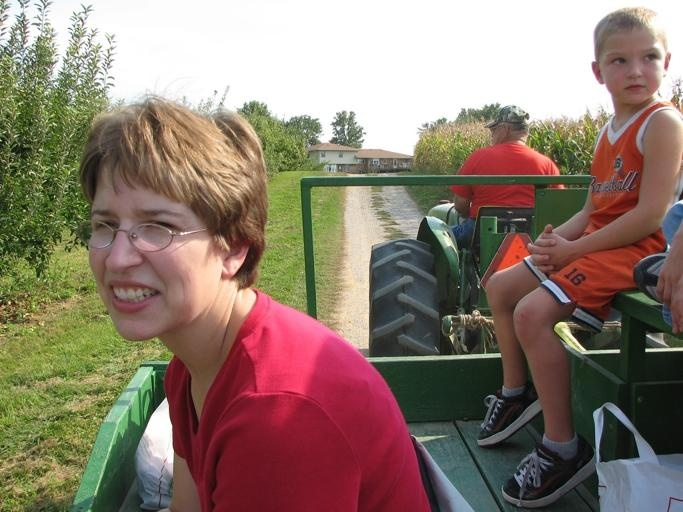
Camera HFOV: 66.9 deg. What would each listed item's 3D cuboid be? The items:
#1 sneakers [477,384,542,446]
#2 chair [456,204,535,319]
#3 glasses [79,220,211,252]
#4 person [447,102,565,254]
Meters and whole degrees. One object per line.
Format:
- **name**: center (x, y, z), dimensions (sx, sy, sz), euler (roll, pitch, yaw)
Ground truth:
- **sneakers**: center (0.794, 0.739, 2.412), dimensions (0.332, 0.154, 0.116), euler (-44, 13, 23)
- **chair**: center (1.043, -0.020, 3.628), dimensions (0.474, 0.803, 0.740), euler (0, 9, -7)
- **glasses**: center (-0.511, -0.057, 1.337), dimensions (0.314, 0.072, 0.095), euler (4, 13, 15)
- **person**: center (1.539, -0.669, 5.102), dimensions (0.922, 1.536, 1.460), euler (5, 0, -1)
